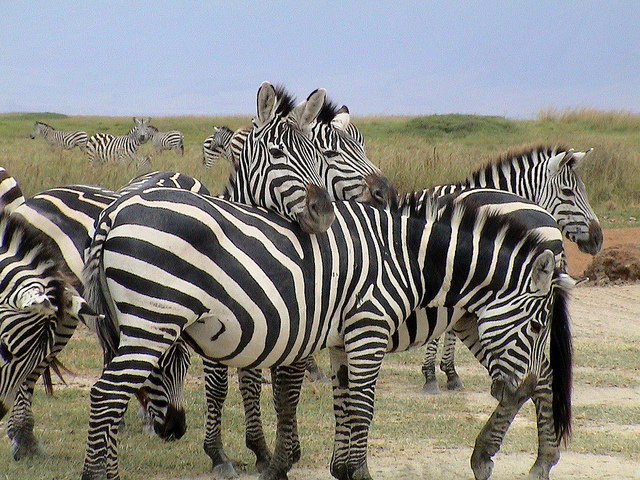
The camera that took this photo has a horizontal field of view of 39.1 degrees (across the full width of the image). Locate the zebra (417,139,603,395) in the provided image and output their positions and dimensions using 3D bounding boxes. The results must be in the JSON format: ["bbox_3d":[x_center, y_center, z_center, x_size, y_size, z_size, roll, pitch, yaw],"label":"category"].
[{"bbox_3d":[1.594,0.420,9.855,2.857,2.726,0.869,-8,-7,32],"label":"zebra"}]

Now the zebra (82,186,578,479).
[{"bbox_3d":[-0.037,0.765,6.847,3.397,2.225,0.904,0,7,-20],"label":"zebra"}]

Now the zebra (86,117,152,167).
[{"bbox_3d":[-5.094,-2.321,22.932,1.877,1.757,0.644,1,8,27],"label":"zebra"}]

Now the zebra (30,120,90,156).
[{"bbox_3d":[-7.309,-2.936,25.735,1.347,0.767,2.282,-1,10,-22],"label":"zebra"}]
